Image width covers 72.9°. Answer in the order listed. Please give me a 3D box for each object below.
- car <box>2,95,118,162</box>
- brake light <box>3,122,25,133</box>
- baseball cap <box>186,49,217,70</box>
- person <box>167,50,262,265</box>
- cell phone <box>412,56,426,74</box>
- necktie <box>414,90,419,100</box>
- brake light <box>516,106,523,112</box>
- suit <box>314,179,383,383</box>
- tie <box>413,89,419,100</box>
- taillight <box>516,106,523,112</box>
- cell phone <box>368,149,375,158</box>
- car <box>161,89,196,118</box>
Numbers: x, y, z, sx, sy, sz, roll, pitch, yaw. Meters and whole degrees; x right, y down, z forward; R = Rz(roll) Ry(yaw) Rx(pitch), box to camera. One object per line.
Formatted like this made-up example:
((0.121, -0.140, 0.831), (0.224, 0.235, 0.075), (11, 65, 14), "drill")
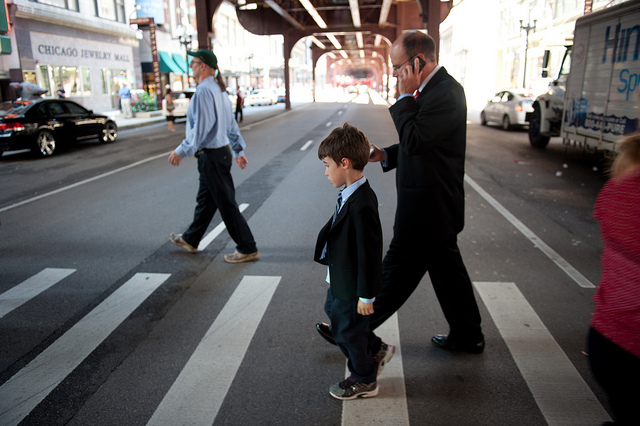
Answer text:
((-9.777, -3.215, 16.112), (1.015, 1.973, 4.006), (3, 22, 10), "car")
((-10.159, -2.858, 14.515), (0.390, 0.122, 0.407), (1, 36, -3), "brake light")
((-1.562, -2.042, 5.753), (0.348, 0.138, 0.228), (23, 19, -14), "baseball cap")
((-1.458, -0.733, 6.051), (1.108, 2.865, 0.908), (-4, 20, -9), "person")
((0.868, -1.304, 3.797), (0.125, 0.126, 0.037), (-8, 21, -19), "cell phone")
((0.864, -1.061, 3.896), (0.026, 0.072, 0.057), (16, -19, -12), "necktie")
((9.120, -4.763, 19.897), (0.296, 0.252, 0.154), (12, 24, 30), "brake light")
((0.249, 0.612, 3.668), (0.513, 1.680, 0.437), (-1, 20, -1), "suit")
((0.862, -1.061, 3.904), (0.026, 0.057, 0.075), (1, -16, 6), "tie")
((9.123, -4.769, 19.907), (0.317, 0.248, 0.160), (14, 25, 35), "taillight")
((0.467, -0.548, 3.966), (0.026, 0.084, 0.094), (44, 8, 6), "cell phone")
((-10.370, -7.842, 30.879), (2.197, 2.093, 4.100), (-11, 26, -26), "car")
